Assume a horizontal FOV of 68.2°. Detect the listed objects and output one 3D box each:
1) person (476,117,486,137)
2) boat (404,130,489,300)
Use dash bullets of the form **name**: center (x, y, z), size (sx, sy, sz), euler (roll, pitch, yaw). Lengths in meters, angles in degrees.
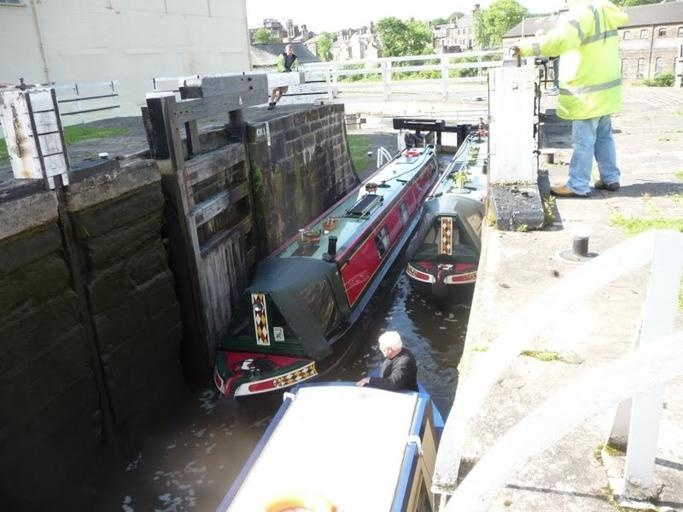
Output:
- **person**: center (5.853, -5.296, 21.057), size (0.359, 0.484, 1.305), euler (0, 42, 10)
- **boat**: center (3.592, -2.151, 14.553), size (1.529, 2.286, 8.351), euler (8, 35, 16)
